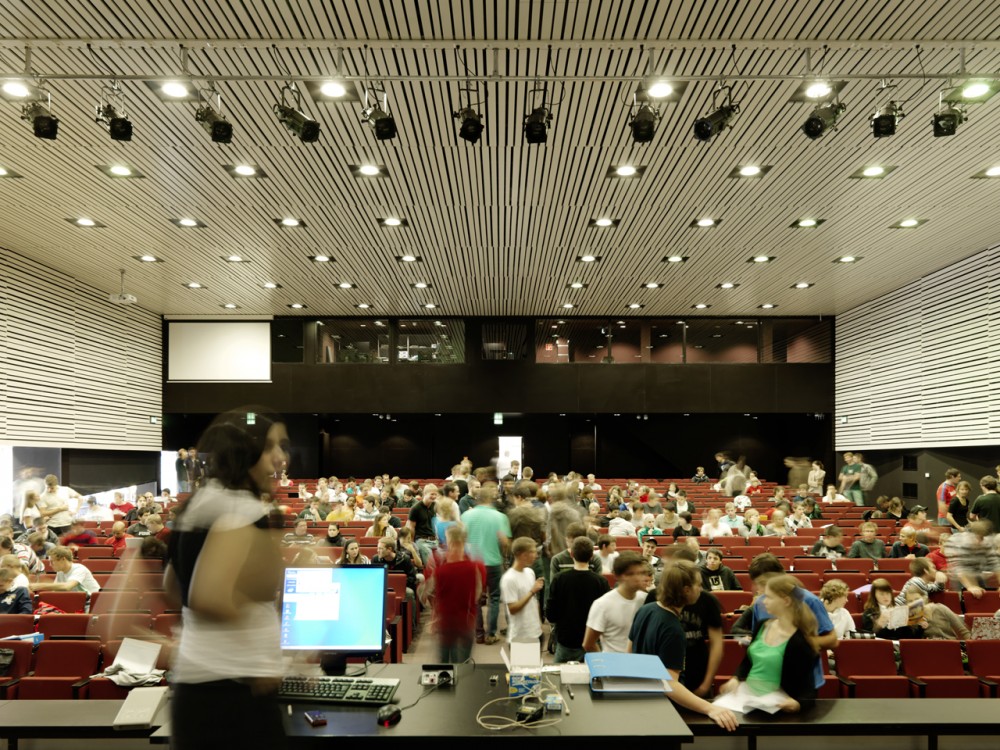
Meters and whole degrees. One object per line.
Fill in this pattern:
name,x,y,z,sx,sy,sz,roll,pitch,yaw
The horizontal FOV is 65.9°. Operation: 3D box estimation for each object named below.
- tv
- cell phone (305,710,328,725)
tv,-1.123,1.558,5.128,0.073,0.582,0.874,-17,-25,37
cell phone,-1.104,2.048,4.600,0.160,0.055,0.103,0,-7,5
